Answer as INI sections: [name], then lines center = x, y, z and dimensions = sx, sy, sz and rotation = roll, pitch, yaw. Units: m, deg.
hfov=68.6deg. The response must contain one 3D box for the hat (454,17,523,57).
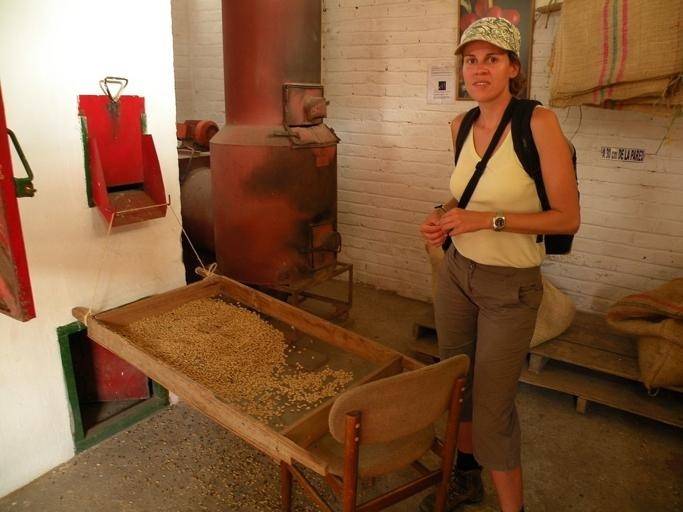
[hat]
center = 0.627, -0.864, 1.996
dimensions = 0.166, 0.110, 0.227
rotation = 15, 15, 36
